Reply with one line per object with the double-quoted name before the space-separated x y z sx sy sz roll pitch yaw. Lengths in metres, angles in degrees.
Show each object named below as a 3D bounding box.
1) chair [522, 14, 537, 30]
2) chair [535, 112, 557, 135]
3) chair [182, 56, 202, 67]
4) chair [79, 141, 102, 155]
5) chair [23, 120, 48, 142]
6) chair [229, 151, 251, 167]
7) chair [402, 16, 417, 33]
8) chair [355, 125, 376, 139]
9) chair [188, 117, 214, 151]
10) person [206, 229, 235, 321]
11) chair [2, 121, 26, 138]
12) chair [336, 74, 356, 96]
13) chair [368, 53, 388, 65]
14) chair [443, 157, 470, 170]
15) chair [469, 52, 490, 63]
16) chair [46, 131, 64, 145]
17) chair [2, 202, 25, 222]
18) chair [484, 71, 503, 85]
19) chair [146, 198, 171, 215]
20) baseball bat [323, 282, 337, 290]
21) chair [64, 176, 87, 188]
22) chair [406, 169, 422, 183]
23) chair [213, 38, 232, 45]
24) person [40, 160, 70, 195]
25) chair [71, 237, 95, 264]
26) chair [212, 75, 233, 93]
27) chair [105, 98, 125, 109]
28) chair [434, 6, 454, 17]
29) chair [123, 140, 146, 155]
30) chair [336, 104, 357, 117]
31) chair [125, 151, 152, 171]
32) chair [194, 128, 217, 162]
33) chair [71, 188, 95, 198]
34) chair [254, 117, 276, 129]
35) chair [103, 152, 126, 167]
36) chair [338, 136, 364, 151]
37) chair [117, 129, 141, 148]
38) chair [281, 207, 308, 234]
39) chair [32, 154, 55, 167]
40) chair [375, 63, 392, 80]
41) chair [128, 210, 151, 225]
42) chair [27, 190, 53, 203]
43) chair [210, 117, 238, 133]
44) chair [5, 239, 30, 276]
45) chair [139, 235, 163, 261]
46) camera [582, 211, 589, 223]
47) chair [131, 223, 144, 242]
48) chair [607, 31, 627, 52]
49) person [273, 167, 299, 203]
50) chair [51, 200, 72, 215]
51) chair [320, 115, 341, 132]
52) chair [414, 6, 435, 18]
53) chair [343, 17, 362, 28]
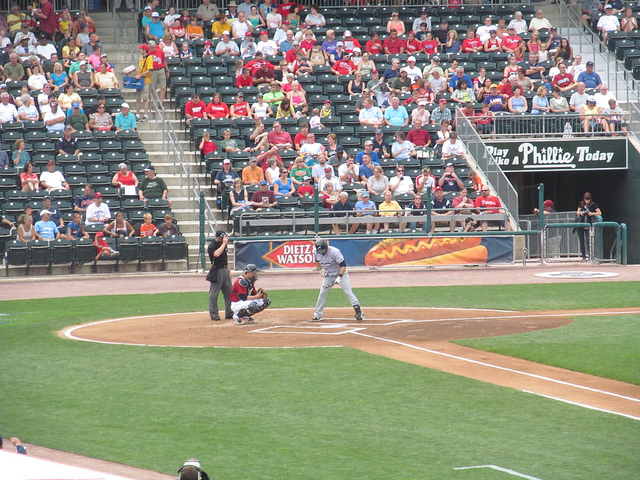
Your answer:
"chair" 8.717 -9.047 52.433 0.548 0.567 0.890 -3 0 10
"chair" 7.996 -4.170 44.963 0.779 0.747 0.735 1 22 5
"chair" -4.780 -6.679 47.469 0.521 0.549 0.405 1 15 -4
"chair" -7.776 -3.153 42.919 0.516 0.599 0.523 1 -2 -23
"chair" -9.724 -3.723 43.249 0.779 0.679 0.637 -3 9 -25
"chair" -2.722 -2.852 42.991 0.772 0.525 0.378 -2 22 -7
"chair" 3.676 -8.841 52.047 0.733 0.835 0.746 2 16 5
"chair" 1.638 -3.756 44.737 0.593 0.632 0.522 0 0 -7
"chair" -4.246 -3.868 44.643 0.896 0.990 0.785 -1 3 -13
"person" -2.618 0.910 33.054 0.653 2.281 0.766 -4 1 -5
"chair" -10.465 -3.781 43.094 0.665 0.563 0.548 1 -1 -22
"chair" 0.990 -5.787 47.410 0.839 0.946 0.744 0 2 -3
"chair" 2.304 -6.982 48.947 0.685 0.604 0.406 0 5 -1
"chair" 4.757 -2.689 43.698 0.570 0.695 0.531 0 0 -7
"chair" 6.176 -7.050 48.985 0.788 0.369 0.430 -3 0 -9
"chair" -8.963 -3.466 42.888 0.459 0.533 0.461 -1 11 -14
"chair" -9.844 -0.969 40.640 0.554 0.673 0.549 0 0 -23
"chair" 6.612 -6.116 47.817 0.589 0.614 0.573 0 -12 5
"chair" -5.288 -1.165 41.542 0.876 0.617 0.455 0 5 -12
"baseball bat" 0.285 1.116 32.427 0.413 0.104 0.107 -28 -7 -46
"chair" -8.014 -1.909 41.725 0.659 0.465 0.384 0 -4 -15
"chair" 3.231 -2.186 43.006 0.532 0.414 0.443 -3 0 4
"chair" -3.804 -7.621 48.528 0.631 0.265 0.853 -3 0 10
"person" -8.665 -2.029 41.318 0.926 1.107 0.746 -4 1 -17
"chair" -7.471 0.302 40.080 0.869 0.898 0.727 0 1 -19
"chair" -3.533 -5.724 46.649 0.691 0.598 0.502 -1 16 -6
"chair" -7.294 -4.811 44.924 0.480 0.505 0.440 -1 3 -8
"chair" 5.257 -9.551 53.108 0.553 0.696 0.576 0 3 0
"chair" -6.341 -3.202 43.324 0.697 0.601 0.498 -1 3 -22
"chair" 1.000 -4.691 45.951 0.914 0.626 0.423 -1 6 -9
"chair" -6.156 -2.709 43.146 0.885 0.759 0.493 -1 0 -23
"chair" -4.010 -3.338 44.205 0.812 1.145 0.595 -3 1 16
"chair" -7.830 -1.555 41.374 0.467 0.414 0.399 4 -9 -16
"chair" -1.800 -4.117 44.513 0.460 0.478 0.424 -1 -7 -4
"chair" -6.965 -2.777 42.862 0.934 0.665 0.459 -3 11 -24
"chair" 1.054 -3.374 44.148 0.897 0.611 0.445 -1 4 -14
"chair" -6.604 -3.586 43.651 0.903 0.638 0.603 -3 6 -26
"chair" -0.792 -0.673 41.089 0.812 0.929 0.773 0 -6 -2
"chair" -9.214 -2.674 42.041 0.783 0.514 0.384 0 1 -12
"chair" 2.467 -6.424 48.593 0.707 0.638 0.554 0 5 3
"chair" -5.942 -0.743 41.108 0.527 0.473 0.470 1 3 -8
"chair" -9.089 -1.521 40.910 0.588 0.526 0.450 0 13 -8
"chair" -3.373 -4.040 44.548 0.583 0.664 0.556 -1 3 -10
"chair" -9.413 0.419 39.327 0.788 0.991 0.778 -2 20 -15
"chair" -5.460 0.256 40.612 0.832 0.785 0.756 0 1 -9
"camera" 9.028 -0.798 42.778 0.100 0.309 0.319 1 4 -25
"chair" -5.889 -0.351 40.812 0.431 0.540 0.410 1 -1 -8
"chair" 11.782 -7.844 50.149 0.822 0.877 0.817 1 7 8
"person" -1.166 -1.812 41.910 0.726 1.097 1.014 -4 0 -3
"chair" -8.385 -1.058 41.095 0.455 0.537 0.470 0 -4 -27
"chair" 0.392 -4.166 45.285 0.704 0.743 0.582 -1 0 -1
"chair" 4.334 -9.496 52.717 0.803 0.469 1.051 -3 0 23
"chair" 1.359 -8.818 51.684 0.791 0.380 0.564 -3 0 -6
